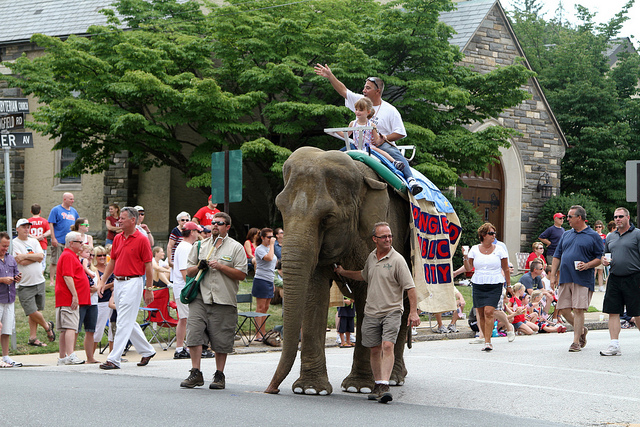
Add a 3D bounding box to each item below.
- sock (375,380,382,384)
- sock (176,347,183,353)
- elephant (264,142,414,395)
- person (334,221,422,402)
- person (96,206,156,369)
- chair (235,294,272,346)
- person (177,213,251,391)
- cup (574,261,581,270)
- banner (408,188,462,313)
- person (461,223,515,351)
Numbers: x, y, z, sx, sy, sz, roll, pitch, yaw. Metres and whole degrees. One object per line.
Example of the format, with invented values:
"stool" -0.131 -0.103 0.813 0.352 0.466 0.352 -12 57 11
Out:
"sock" 1.162 3.379 20.554 0.108 0.023 0.106 2 -3 -44
"sock" -3.429 3.297 24.710 0.154 0.119 0.063 0 -4 -2
"elephant" 0.633 1.400 22.088 2.970 4.982 6.490 -5 -9 23
"person" 1.231 1.980 20.680 1.483 3.580 0.586 -1 -4 1
"person" -4.485 1.706 23.803 1.152 3.684 1.263 0 -4 -9
"chair" -1.905 2.848 27.291 1.148 1.158 1.068 7 3 27
"person" -2.267 1.812 21.402 1.313 3.624 0.780 0 -4 -5
"cup" 6.219 1.256 24.719 0.174 0.197 0.083 -2 -4 27
"banner" 2.377 0.814 21.709 0.493 2.579 1.519 -3 -5 33
"person" 4.248 1.867 25.976 1.059 3.161 0.494 -1 -4 6
